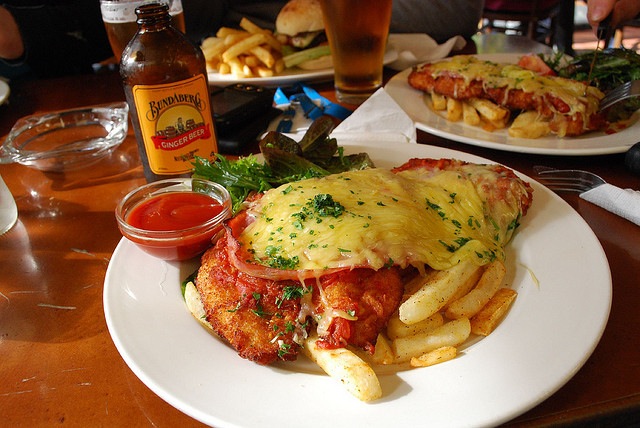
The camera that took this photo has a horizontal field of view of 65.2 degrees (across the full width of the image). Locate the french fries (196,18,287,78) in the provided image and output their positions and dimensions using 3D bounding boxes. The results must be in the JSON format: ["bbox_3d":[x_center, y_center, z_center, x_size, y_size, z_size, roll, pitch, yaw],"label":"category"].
[{"bbox_3d":[-0.730,-1.547,4.869,0.921,0.275,0.803,-11,47,-12],"label":"french fries"}]

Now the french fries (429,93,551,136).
[{"bbox_3d":[1.304,-0.796,4.142,1.071,0.351,0.678,-10,16,-27],"label":"french fries"}]
